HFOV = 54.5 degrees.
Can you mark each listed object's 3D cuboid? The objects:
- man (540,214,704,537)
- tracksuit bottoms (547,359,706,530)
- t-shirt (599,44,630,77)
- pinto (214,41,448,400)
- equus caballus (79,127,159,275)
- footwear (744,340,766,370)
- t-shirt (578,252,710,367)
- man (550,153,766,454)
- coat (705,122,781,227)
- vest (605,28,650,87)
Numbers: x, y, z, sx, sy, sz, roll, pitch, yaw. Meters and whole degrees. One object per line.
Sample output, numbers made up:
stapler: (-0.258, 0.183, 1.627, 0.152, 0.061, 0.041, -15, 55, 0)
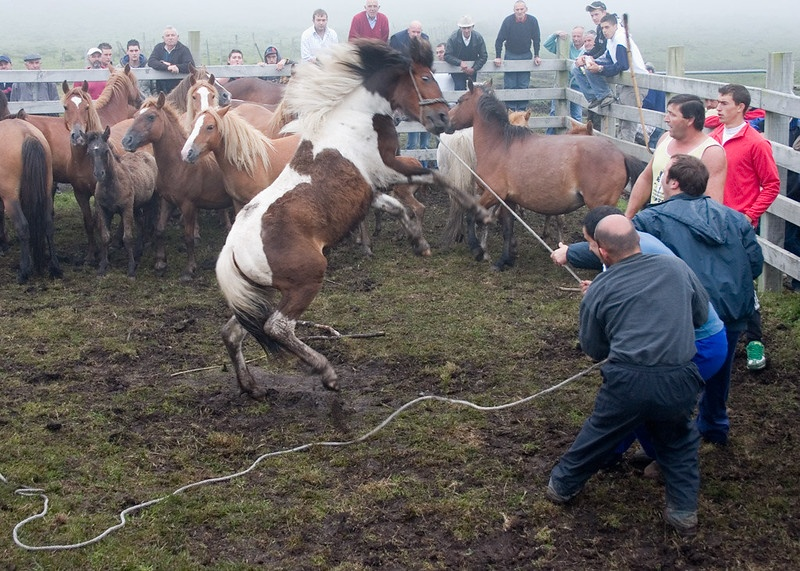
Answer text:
man: (1.894, 0.726, 6.552, 1.260, 2.508, 1.127, 2, 9, 31)
tracksuit bottoms: (1.934, 1.228, 6.395, 1.266, 1.618, 0.604, 8, 26, 8)
t-shirt: (3.469, -3.590, 12.624, 0.425, 0.460, 0.463, -6, 30, 13)
pinto: (-0.665, -0.789, 7.744, 2.238, 3.156, 0.877, -11, 19, -29)
equus caballus: (-3.922, -1.253, 10.953, 0.870, 1.953, 1.492, -2, 16, -2)
footwear: (3.606, 0.689, 7.928, 0.125, 0.166, 0.355, -11, 24, 35)
t-shirt: (2.002, 0.173, 6.322, 1.083, 0.885, 0.665, -13, 20, 4)
man: (2.486, 0.229, 7.297, 1.644, 2.568, 1.463, 1, 8, 8)
coat: (3.420, -1.118, 7.817, 0.503, 0.982, 0.936, -20, 29, 12)
vest: (3.864, -3.926, 12.839, 0.418, 0.734, 1.358, 9, 34, 43)
